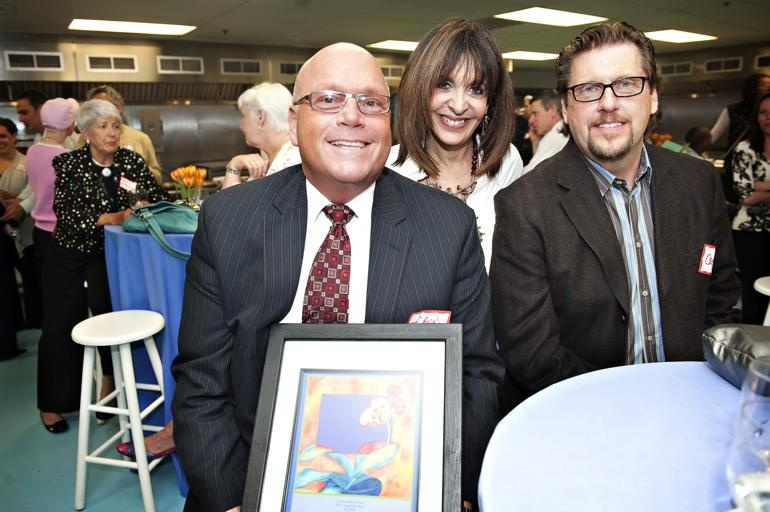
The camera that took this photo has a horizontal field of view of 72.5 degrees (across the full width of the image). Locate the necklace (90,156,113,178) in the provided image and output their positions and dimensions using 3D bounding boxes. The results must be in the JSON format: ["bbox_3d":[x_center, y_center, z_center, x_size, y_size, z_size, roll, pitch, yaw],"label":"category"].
[{"bbox_3d":[-2.098,-0.647,3.847,0.121,0.096,0.123,-4,-4,31],"label":"necklace"}]

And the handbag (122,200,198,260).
[{"bbox_3d":[-1.352,-0.204,3.168,0.478,0.163,0.364,18,21,9],"label":"handbag"}]

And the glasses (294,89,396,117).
[{"bbox_3d":[-0.168,-0.566,1.967,0.360,0.095,0.117,-2,12,-4],"label":"glasses"}]

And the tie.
[{"bbox_3d":[-0.216,0.022,1.977,0.170,0.415,0.193,1,12,11],"label":"tie"}]

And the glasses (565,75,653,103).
[{"bbox_3d":[0.980,-0.727,2.312,0.324,0.105,0.080,2,12,15],"label":"glasses"}]

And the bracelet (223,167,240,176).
[{"bbox_3d":[-1.202,-0.653,4.058,0.070,0.022,0.076,22,-2,14],"label":"bracelet"}]

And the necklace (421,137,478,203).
[{"bbox_3d":[0.415,-0.431,3.025,0.286,0.424,0.111,3,0,-16],"label":"necklace"}]
